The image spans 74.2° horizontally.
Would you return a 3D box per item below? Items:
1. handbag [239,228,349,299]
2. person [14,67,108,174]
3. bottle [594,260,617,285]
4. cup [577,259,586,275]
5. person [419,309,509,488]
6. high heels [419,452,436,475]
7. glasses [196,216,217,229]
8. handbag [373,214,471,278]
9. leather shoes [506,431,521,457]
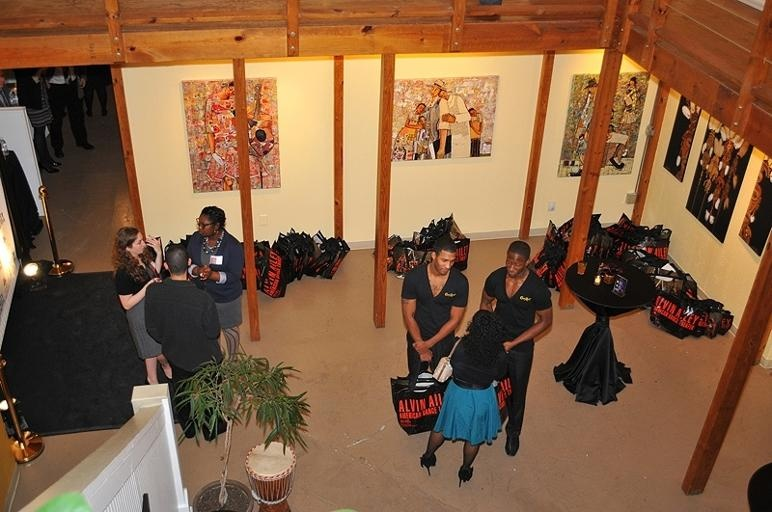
[{"bbox_3d":[-1.455,0.041,8.225,1.537,0.795,1.089,-3,36,-39],"label":"handbag"},{"bbox_3d":[-6.792,-2.772,10.529,0.828,2.090,1.523,-4,20,-12],"label":"person"},{"bbox_3d":[2.882,0.231,6.734,0.218,0.313,0.312,3,20,10],"label":"bottle"},{"bbox_3d":[2.631,0.157,6.870,0.159,0.185,0.165,-4,37,3],"label":"cup"},{"bbox_3d":[0.818,1.539,5.275,0.737,2.101,0.340,4,20,13],"label":"person"},{"bbox_3d":[0.469,2.333,5.737,0.136,0.253,0.098,1,2,14],"label":"high heels"},{"bbox_3d":[-2.060,-0.350,5.853,0.173,0.057,0.167,-2,17,-27],"label":"glasses"},{"bbox_3d":[0.836,-0.145,8.648,1.448,0.674,0.848,-20,40,-27],"label":"handbag"},{"bbox_3d":[1.481,2.214,5.976,0.124,0.299,0.201,1,-22,13],"label":"leather shoes"}]
